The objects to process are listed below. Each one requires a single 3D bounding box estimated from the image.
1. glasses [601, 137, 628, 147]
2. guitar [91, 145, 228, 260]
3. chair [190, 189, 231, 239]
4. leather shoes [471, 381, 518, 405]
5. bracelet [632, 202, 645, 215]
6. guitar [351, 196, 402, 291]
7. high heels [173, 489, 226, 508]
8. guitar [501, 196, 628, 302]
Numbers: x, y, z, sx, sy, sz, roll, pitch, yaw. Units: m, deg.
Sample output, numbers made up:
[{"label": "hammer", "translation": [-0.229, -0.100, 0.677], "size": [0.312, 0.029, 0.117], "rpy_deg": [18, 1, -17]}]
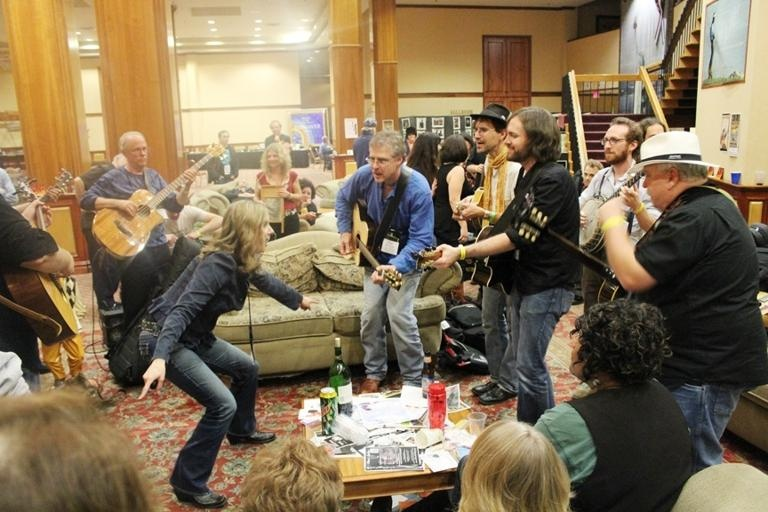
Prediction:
[{"label": "glasses", "translation": [1.906, -0.940, 4.513], "size": [0.107, 0.031, 0.104], "rpy_deg": [4, 4, -14]}, {"label": "guitar", "translation": [-2.026, -0.543, 5.111], "size": [0.202, 0.528, 1.432], "rpy_deg": [-19, 27, 55]}, {"label": "chair", "translation": [-1.818, -0.424, 5.694], "size": [0.506, 0.272, 0.665], "rpy_deg": [1, 34, -2]}, {"label": "leather shoes", "translation": [0.880, 1.088, 4.302], "size": [0.247, 0.086, 0.162], "rpy_deg": [2, 5, -11]}, {"label": "bracelet", "translation": [1.472, -0.269, 3.185], "size": [0.032, 0.076, 0.087], "rpy_deg": [32, -13, -20]}, {"label": "guitar", "translation": [-0.093, -0.005, 4.065], "size": [0.101, 0.293, 0.716], "rpy_deg": [0, 34, -25]}, {"label": "high heels", "translation": [-1.074, 1.471, 3.291], "size": [0.311, 0.107, 0.118], "rpy_deg": [5, -3, 0]}, {"label": "guitar", "translation": [1.121, -0.124, 3.517], "size": [0.147, 0.421, 1.028], "rpy_deg": [-15, 54, -44]}]
